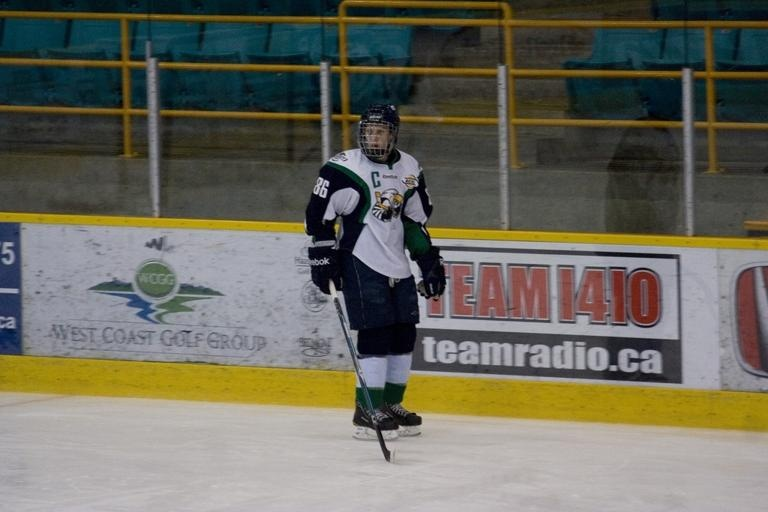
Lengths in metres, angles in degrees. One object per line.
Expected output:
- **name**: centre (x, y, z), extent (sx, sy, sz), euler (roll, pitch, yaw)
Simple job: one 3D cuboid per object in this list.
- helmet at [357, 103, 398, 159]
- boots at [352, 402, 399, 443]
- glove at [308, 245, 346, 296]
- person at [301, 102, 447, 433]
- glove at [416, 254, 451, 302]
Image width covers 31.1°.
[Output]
- **helmet**: centre (-0.040, -0.811, 9.050), extent (0.203, 0.385, 0.149), euler (-3, 2, -38)
- **boots**: centre (-0.086, 1.114, 9.090), extent (0.487, 0.216, 0.154), euler (0, 3, 25)
- **glove**: centre (-0.359, 0.081, 9.092), extent (0.249, 0.315, 0.117), euler (-2, 2, -33)
- **person**: centre (-0.059, 0.096, 9.163), extent (0.761, 2.207, 0.429), euler (-3, 3, -42)
- **glove**: centre (0.328, 0.140, 9.311), extent (0.278, 0.255, 0.173), euler (-12, -11, 40)
